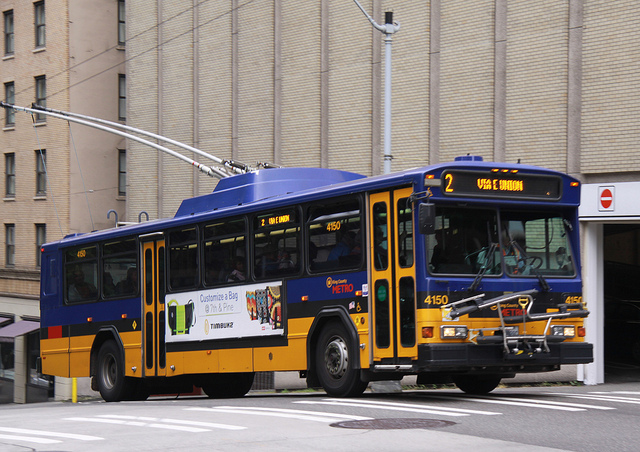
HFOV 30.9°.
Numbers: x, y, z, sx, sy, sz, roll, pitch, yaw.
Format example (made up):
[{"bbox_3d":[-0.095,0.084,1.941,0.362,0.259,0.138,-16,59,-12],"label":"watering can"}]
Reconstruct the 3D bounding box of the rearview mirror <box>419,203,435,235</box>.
[{"bbox_3d":[1.997,-0.136,21.219,0.336,0.574,0.203,-6,-7,-2],"label":"rearview mirror"}]

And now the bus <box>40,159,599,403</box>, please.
[{"bbox_3d":[-1.119,1.327,27.106,4.239,3.642,15.051,1,-6,-40],"label":"bus"}]
